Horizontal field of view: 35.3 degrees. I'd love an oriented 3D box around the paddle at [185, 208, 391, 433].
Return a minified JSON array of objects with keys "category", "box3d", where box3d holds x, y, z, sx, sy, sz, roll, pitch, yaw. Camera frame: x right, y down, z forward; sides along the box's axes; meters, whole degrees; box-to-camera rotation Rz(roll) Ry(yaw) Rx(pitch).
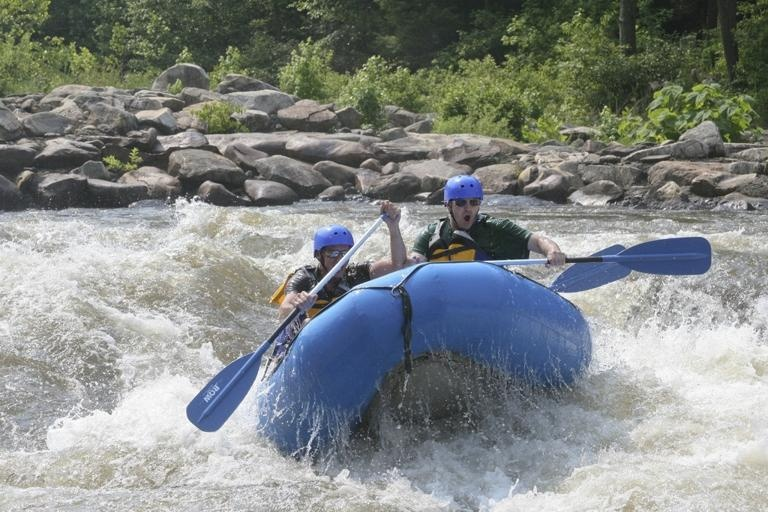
[{"category":"paddle","box3d":[-1.828,1.402,22.973,5.469,0.811,0.213,-41,-15,-4]}]
